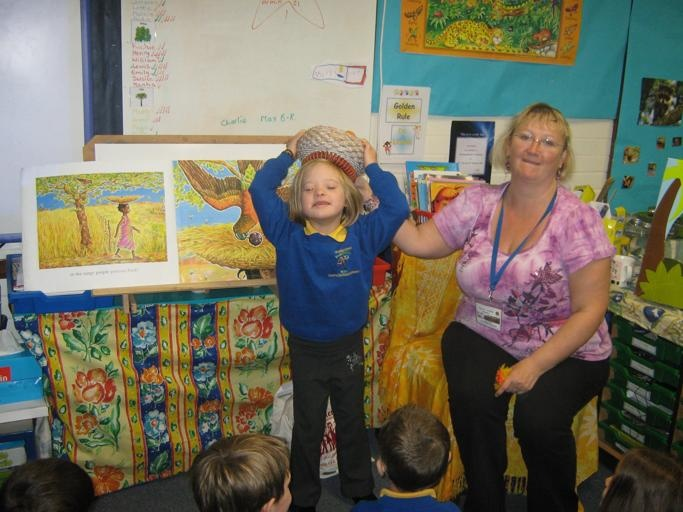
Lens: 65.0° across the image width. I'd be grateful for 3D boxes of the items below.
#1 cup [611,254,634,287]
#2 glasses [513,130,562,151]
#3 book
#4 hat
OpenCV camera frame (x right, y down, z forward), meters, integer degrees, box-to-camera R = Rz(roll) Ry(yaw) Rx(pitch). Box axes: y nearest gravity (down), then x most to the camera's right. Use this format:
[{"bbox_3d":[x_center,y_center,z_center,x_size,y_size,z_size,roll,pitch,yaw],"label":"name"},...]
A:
[{"bbox_3d":[1.509,0.081,2.896,0.119,0.161,0.115,0,5,0],"label":"cup"},{"bbox_3d":[0.825,-0.487,2.247,0.100,0.032,0.103,12,-12,18],"label":"glasses"},{"bbox_3d":[0.548,-0.306,3.063,0.466,0.473,0.351,-3,5,-20],"label":"book"},{"bbox_3d":[-0.034,-0.507,2.454,0.310,0.169,0.256,12,1,26],"label":"hat"}]
